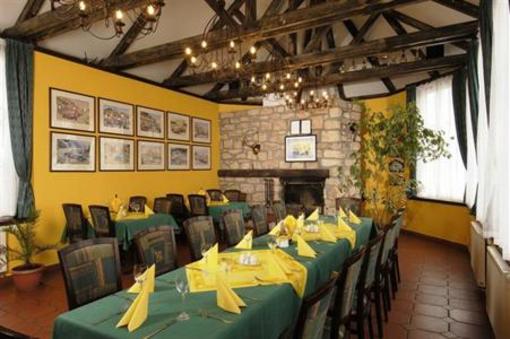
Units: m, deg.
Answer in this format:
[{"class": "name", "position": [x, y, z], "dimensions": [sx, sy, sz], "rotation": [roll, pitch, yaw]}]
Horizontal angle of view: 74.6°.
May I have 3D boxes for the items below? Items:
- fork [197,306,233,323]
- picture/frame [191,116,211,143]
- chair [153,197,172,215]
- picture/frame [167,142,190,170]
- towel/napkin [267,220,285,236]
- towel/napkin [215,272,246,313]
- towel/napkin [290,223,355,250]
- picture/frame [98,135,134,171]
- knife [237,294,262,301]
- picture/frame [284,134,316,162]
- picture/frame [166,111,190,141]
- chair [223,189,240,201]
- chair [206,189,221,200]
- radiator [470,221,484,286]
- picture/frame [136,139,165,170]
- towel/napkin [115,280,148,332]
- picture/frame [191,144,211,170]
[{"class": "fork", "position": [-0.386, 1.408, 3.229], "dimensions": [0.442, 0.066, 0.067], "rotation": [6, 13, 25]}, {"class": "picture/frame", "position": [-1.563, -1.100, 9.368], "dimensions": [0.029, 0.631, 0.800], "rotation": [-3, -6, 29]}, {"class": "chair", "position": [-1.903, 0.756, 6.823], "dimensions": [0.300, 0.522, 0.359], "rotation": [0, -5, 16]}, {"class": "picture/frame", "position": [-2.025, -0.348, 8.634], "dimensions": [0.024, 0.603, 0.719], "rotation": [-5, -6, 32]}, {"class": "towel/napkin", "position": [0.297, 0.823, 4.671], "dimensions": [0.179, 0.087, 0.236], "rotation": [1, 4, 32]}, {"class": "towel/napkin", "position": [-0.275, 1.218, 3.310], "dimensions": [0.345, 0.328, 0.171], "rotation": [0, 14, 16]}, {"class": "towel/napkin", "position": [1.078, 0.934, 4.833], "dimensions": [0.534, 0.145, 0.546], "rotation": [-1, 0, 32]}, {"class": "picture/frame", "position": [-3.070, -0.351, 7.266], "dimensions": [0.030, 0.746, 0.793], "rotation": [-3, -3, 37]}, {"class": "knife", "position": [-0.063, 1.305, 3.407], "dimensions": [0.194, 0.029, 0.030], "rotation": [6, 9, 27]}, {"class": "picture/frame", "position": [1.234, -0.570, 9.032], "dimensions": [0.738, 0.609, 0.029], "rotation": [2, 5, 28]}, {"class": "picture/frame", "position": [-2.037, -1.105, 8.626], "dimensions": [0.036, 0.787, 0.848], "rotation": [-5, -5, 35]}, {"class": "chair", "position": [-0.583, 0.646, 8.373], "dimensions": [0.271, 0.471, 0.325], "rotation": [-1, -5, 13]}, {"class": "chair", "position": [-1.026, 0.624, 8.372], "dimensions": [0.311, 0.401, 0.289], "rotation": [1, -5, -18]}, {"class": "radiator", "position": [3.643, 1.390, 5.486], "dimensions": [0.173, 1.033, 1.100], "rotation": [-1, 2, 28]}, {"class": "picture/frame", "position": [-2.527, -0.346, 7.954], "dimensions": [0.027, 0.717, 0.758], "rotation": [-3, -4, 37]}, {"class": "towel/napkin", "position": [-1.205, 1.346, 3.266], "dimensions": [0.154, 0.346, 0.365], "rotation": [3, -6, 12]}, {"class": "picture/frame", "position": [-1.558, -0.336, 9.363], "dimensions": [0.030, 0.603, 0.729], "rotation": [-3, -4, 31]}]
